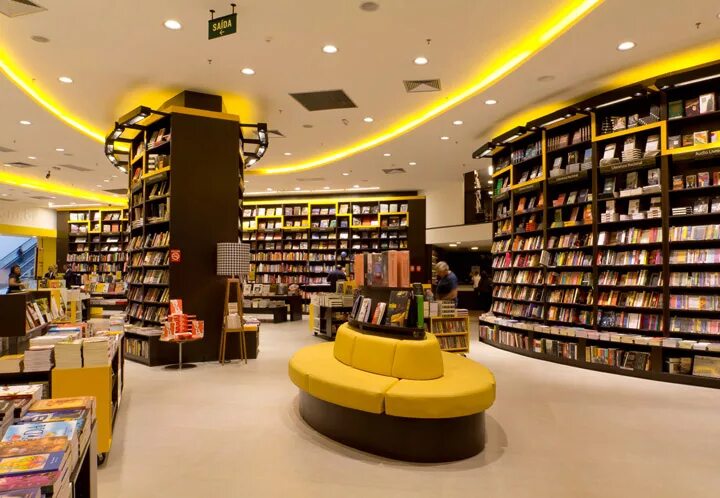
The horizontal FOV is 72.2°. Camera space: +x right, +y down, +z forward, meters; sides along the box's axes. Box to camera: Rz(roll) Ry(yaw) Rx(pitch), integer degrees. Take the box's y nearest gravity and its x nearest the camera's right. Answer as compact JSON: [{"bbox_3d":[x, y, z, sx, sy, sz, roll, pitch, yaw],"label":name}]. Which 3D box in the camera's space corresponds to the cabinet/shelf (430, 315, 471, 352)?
[{"bbox_3d":[1.705,1.607,9.374,0.742,0.586,0.257,1,-7,-3],"label":"cabinet/shelf"}]

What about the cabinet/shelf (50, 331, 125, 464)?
[{"bbox_3d":[-2.660,1.441,4.796,0.394,0.549,1.298,0,-2,-18],"label":"cabinet/shelf"}]

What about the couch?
[{"bbox_3d":[0.611,1.190,5.566,1.453,0.809,2.074,-4,5,-45],"label":"couch"}]

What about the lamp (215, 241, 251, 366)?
[{"bbox_3d":[-2.279,0.957,8.876,0.549,2.132,0.648,-1,4,-12],"label":"lamp"}]

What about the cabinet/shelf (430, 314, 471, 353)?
[{"bbox_3d":[1.710,1.616,9.383,0.714,0.571,0.234,-1,-14,2],"label":"cabinet/shelf"}]

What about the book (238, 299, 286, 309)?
[{"bbox_3d":[-2.694,1.529,13.649,0.974,0.193,0.620,1,-1,13],"label":"book"}]
